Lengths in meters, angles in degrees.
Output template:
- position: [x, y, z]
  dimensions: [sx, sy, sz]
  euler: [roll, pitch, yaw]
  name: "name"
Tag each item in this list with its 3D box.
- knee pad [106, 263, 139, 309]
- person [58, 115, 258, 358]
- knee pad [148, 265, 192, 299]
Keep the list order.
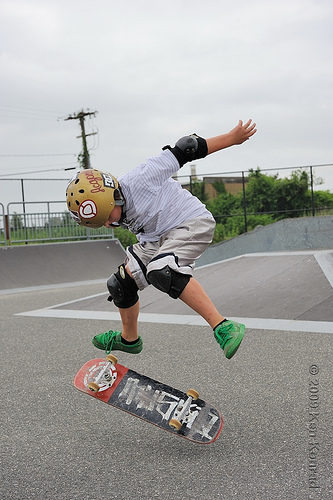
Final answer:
- position: [-0.259, 0.221, 2.429]
  dimensions: [0.187, 0.265, 0.122]
  euler: [-3, -2, 0]
  name: "knee pad"
- position: [-0.035, -0.029, 2.323]
  dimensions: [1.113, 1.263, 0.639]
  euler: [-1, -14, 20]
  name: "person"
- position: [0.065, 0.136, 2.189]
  dimensions: [0.256, 0.119, 0.230]
  euler: [-5, 3, 9]
  name: "knee pad"
